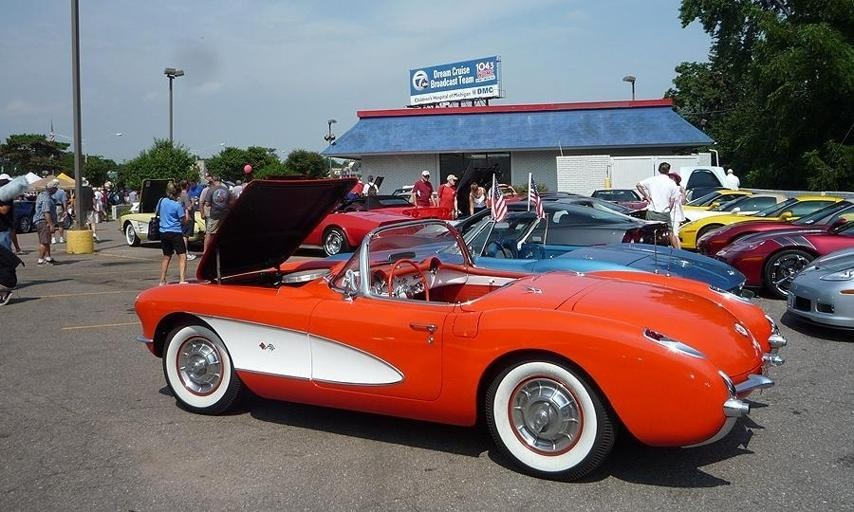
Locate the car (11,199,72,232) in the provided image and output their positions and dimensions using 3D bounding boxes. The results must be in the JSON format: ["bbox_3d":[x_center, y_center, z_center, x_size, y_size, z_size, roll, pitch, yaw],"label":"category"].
[{"bbox_3d":[-18.460,-1.837,27.410,3.213,1.558,1.740,-1,0,17],"label":"car"}]

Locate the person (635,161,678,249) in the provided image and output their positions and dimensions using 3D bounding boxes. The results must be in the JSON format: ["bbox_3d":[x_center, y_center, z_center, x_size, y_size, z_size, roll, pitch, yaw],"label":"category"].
[{"bbox_3d":[5.672,-1.158,14.597,1.182,2.241,0.647,5,26,16],"label":"person"}]

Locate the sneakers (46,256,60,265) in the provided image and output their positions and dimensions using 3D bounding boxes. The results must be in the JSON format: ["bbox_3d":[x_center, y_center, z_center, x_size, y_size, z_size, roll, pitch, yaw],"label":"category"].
[{"bbox_3d":[-10.702,0.132,17.105,0.294,0.128,0.109,4,2,12],"label":"sneakers"}]

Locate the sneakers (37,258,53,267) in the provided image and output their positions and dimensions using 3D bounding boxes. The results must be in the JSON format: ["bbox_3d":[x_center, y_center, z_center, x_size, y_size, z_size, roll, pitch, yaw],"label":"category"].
[{"bbox_3d":[-10.829,0.188,17.011,0.187,0.214,0.484,-2,-7,7],"label":"sneakers"}]
